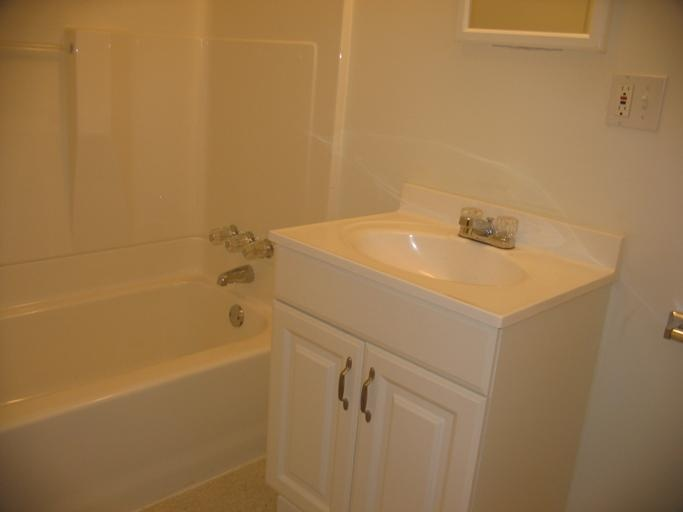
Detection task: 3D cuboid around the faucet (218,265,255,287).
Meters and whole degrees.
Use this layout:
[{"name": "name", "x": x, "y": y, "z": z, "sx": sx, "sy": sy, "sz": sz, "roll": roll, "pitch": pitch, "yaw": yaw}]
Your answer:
[{"name": "faucet", "x": -0.436, "y": 0.090, "z": 2.199, "sx": 0.136, "sy": 0.087, "sz": 0.033, "roll": -11, "pitch": 17, "yaw": -29}]
